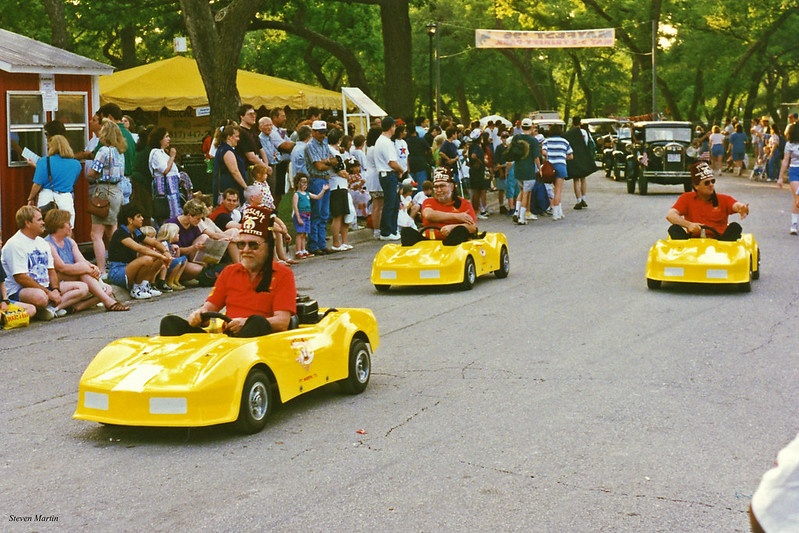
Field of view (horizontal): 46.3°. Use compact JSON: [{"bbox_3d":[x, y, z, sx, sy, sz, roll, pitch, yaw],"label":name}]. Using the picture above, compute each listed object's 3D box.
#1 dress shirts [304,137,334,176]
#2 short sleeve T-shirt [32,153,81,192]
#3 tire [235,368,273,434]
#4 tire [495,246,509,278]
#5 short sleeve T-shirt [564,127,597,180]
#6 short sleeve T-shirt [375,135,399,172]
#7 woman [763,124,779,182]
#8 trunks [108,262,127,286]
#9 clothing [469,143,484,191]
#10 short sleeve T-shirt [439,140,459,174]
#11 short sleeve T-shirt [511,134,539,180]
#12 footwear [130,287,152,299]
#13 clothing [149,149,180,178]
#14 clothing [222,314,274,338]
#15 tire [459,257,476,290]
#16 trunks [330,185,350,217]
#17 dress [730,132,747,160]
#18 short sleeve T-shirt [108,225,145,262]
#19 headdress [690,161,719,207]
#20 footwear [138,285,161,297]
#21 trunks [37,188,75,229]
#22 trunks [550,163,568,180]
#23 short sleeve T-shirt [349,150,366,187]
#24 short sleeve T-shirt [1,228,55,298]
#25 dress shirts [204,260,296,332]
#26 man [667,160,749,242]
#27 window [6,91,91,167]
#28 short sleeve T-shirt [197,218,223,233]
[{"bbox_3d":[-1.593,-2.101,18.505,0.491,0.847,0.658,-2,3,23],"label":"dress shirts"},{"bbox_3d":[-5.576,-1.487,15.254,0.419,0.638,0.828,18,13,33],"label":"short sleeve T-shirt"},{"bbox_3d":[-1.357,1.266,8.818,0.137,0.589,0.513,4,12,26],"label":"tire"},{"bbox_3d":[1.706,-0.051,15.775,0.173,0.514,0.500,-2,-4,23],"label":"tire"},{"bbox_3d":[4.811,-3.104,25.229,1.024,1.468,0.446,2,43,16],"label":"short sleeve T-shirt"},{"bbox_3d":[-0.284,-2.360,19.917,0.351,0.607,0.733,-7,13,-19],"label":"short sleeve T-shirt"},{"bbox_3d":[14.078,-4.278,35.678,0.485,1.839,4.862,3,12,21],"label":"woman"},{"bbox_3d":[-4.391,0.129,14.571,0.268,0.385,0.156,-1,-1,-1],"label":"trunks"},{"bbox_3d":[1.862,-2.437,22.874,0.381,0.406,1.031,-3,-34,13],"label":"clothing"},{"bbox_3d":[1.261,-2.557,22.576,0.438,0.842,0.845,-1,-5,27],"label":"short sleeve T-shirt"},{"bbox_3d":[3.103,-2.684,23.328,0.793,1.209,0.502,2,11,25],"label":"short sleeve T-shirt"},{"bbox_3d":[-4.050,0.433,14.640,0.315,0.160,0.136,2,7,11],"label":"footwear"},{"bbox_3d":[-4.162,-1.817,16.501,0.390,0.633,0.663,-6,11,1],"label":"clothing"},{"bbox_3d":[-1.434,0.608,9.102,0.280,0.110,0.277,-20,17,-38],"label":"clothing"},{"bbox_3d":[1.054,0.119,14.768,0.136,0.433,0.423,2,15,20],"label":"tire"},{"bbox_3d":[-1.198,-1.259,18.605,0.547,0.761,0.417,-1,5,-6],"label":"trunks"},{"bbox_3d":[13.671,-4.800,37.885,0.566,1.212,1.209,2,11,16],"label":"dress"},{"bbox_3d":[-4.283,-0.263,14.557,0.469,0.779,0.758,2,5,4],"label":"short sleeve T-shirt"},{"bbox_3d":[4.797,-1.275,14.709,0.438,0.721,0.606,2,11,18],"label":"headdress"},{"bbox_3d":[-3.942,0.395,14.797,0.322,0.153,0.119,4,12,1],"label":"footwear"},{"bbox_3d":[-5.275,-0.874,14.306,0.594,0.898,0.510,-2,9,-18],"label":"trunks"},{"bbox_3d":[4.039,-2.412,23.914,0.430,0.435,0.250,-12,-8,42],"label":"trunks"},{"bbox_3d":[-0.916,-2.090,20.128,0.318,0.909,0.385,-10,48,4],"label":"short sleeve T-shirt"},{"bbox_3d":[-5.190,0.008,13.080,0.468,0.822,0.883,-3,3,28],"label":"short sleeve T-shirt"},{"bbox_3d":[-1.501,0.318,9.631,1.061,0.830,0.528,-1,-8,16],"label":"dress shirts"},{"bbox_3d":[4.885,-0.833,14.671,1.193,1.414,0.918,6,22,32],"label":"man"},{"bbox_3d":[-6.295,-2.414,16.580,0.239,1.051,1.571,2,7,24],"label":"window"},{"bbox_3d":[-3.157,-0.642,15.521,0.277,0.116,0.283,22,22,32],"label":"short sleeve T-shirt"}]
